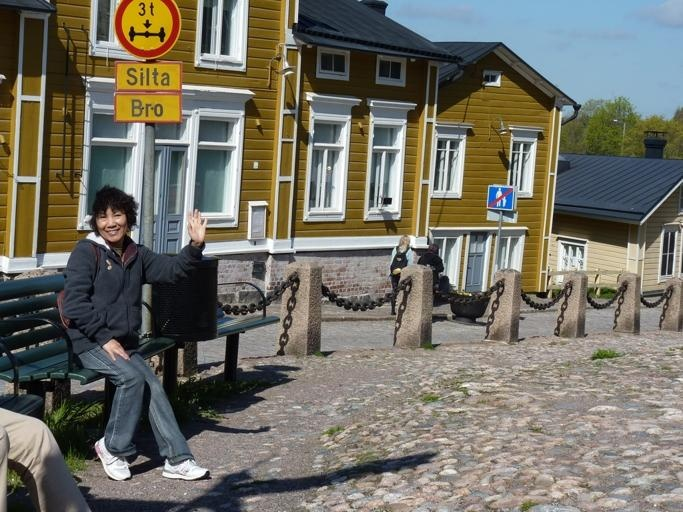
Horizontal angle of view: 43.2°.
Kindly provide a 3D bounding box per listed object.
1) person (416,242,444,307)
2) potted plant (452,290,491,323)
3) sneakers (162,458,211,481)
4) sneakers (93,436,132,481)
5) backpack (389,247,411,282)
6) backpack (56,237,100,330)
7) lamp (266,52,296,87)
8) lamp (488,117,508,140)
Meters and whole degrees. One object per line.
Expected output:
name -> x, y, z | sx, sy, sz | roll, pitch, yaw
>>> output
person -> 2.217, 0.575, 21.137 | 0.708, 1.781, 0.522 | 10, 24, 30
potted plant -> 2.990, 1.288, 20.131 | 0.958, 0.671, 0.981 | 0, -1, 24
sneakers -> -1.293, 1.794, 7.178 | 0.394, 0.179, 0.159 | 1, 0, 10
sneakers -> -1.881, 1.666, 7.112 | 0.183, 0.190, 0.440 | -9, 44, -44
backpack -> 1.413, 0.120, 20.610 | 0.452, 0.678, 0.376 | 9, -5, 10
backpack -> -2.173, 0.203, 7.153 | 0.592, 0.627, 0.453 | -5, 4, -20
lamp -> -1.412, -4.362, 19.818 | 0.637, 0.807, 0.367 | -20, 53, -28
lamp -> 4.848, -3.964, 26.487 | 0.575, 0.610, 0.581 | -1, -4, -2
